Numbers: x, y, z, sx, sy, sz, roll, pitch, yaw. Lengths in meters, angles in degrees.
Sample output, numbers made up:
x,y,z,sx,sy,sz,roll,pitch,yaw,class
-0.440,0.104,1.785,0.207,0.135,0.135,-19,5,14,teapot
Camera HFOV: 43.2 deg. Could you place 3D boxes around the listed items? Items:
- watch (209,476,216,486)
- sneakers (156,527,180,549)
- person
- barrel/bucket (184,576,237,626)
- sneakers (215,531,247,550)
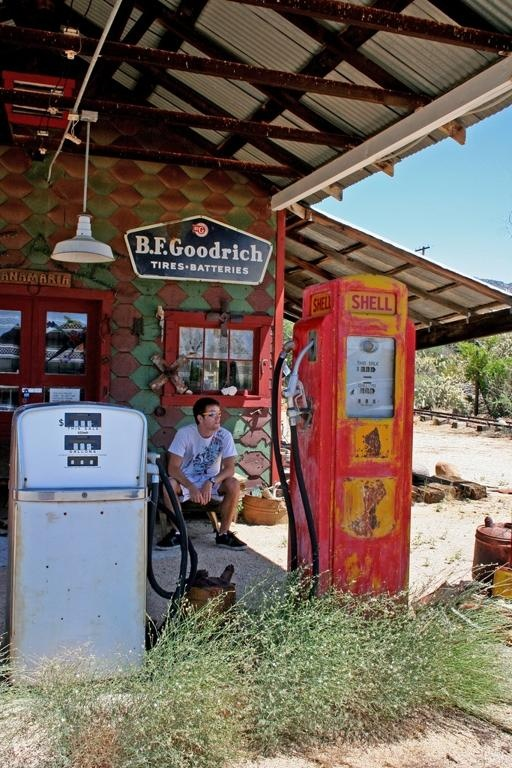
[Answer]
x,y,z,sx,sy,sz,roll,pitch,yaw,class
-0.352,0.804,5.346,0.044,0.068,0.061,3,-2,3,watch
-0.738,1.350,5.628,0.129,0.152,0.351,-1,-8,13,sneakers
-0.440,0.764,5.477,0.480,1.289,0.786,-1,-2,39,person
-0.219,1.063,3.158,0.202,0.148,0.163,0,-2,8,barrel/bucket
-0.228,1.357,5.603,0.293,0.124,0.107,-1,-5,33,sneakers
